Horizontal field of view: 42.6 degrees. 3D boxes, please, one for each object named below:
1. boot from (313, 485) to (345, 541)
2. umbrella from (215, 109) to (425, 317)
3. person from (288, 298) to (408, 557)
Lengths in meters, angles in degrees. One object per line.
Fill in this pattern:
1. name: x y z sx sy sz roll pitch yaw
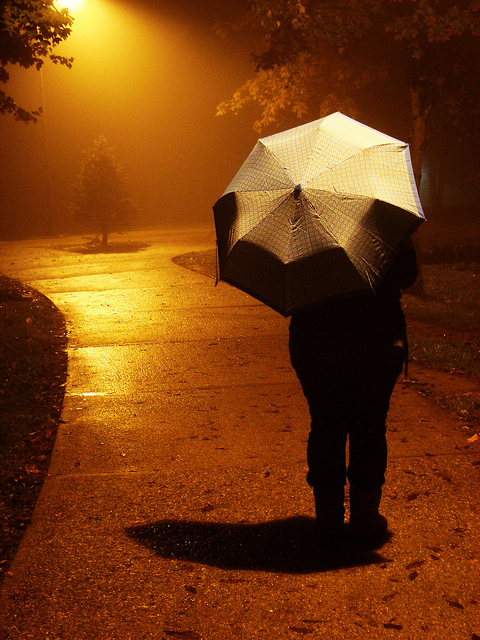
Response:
1. boot: 0.433 0.923 2.943 0.136 0.275 0.066 -1 10 2
2. umbrella: 0.347 -0.462 2.727 0.902 0.825 0.517 1 10 14
3. person: 0.515 0.491 2.852 0.540 1.184 0.260 -1 10 3
